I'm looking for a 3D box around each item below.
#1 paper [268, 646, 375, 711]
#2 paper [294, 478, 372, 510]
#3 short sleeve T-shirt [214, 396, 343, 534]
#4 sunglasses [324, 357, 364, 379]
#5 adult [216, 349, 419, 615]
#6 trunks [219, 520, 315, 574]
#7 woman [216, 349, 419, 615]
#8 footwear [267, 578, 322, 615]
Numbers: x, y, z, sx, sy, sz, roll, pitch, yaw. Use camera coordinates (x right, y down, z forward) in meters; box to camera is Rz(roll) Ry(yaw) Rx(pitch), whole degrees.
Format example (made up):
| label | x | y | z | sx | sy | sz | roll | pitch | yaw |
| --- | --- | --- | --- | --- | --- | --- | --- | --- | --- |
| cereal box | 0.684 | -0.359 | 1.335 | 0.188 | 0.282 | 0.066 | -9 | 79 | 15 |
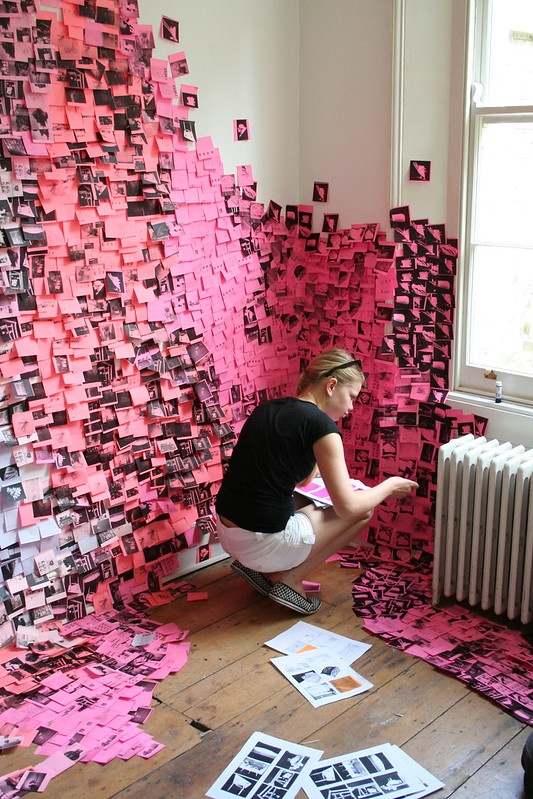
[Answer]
| label | x | y | z | sx | sy | sz | roll | pitch | yaw |
| --- | --- | --- | --- | --- | --- | --- | --- | --- | --- |
| paper | 0.147 | 0.753 | 1.583 | 0.183 | 0.012 | 0.259 | -5 | 6 | -25 |
| paper | 0.193 | 0.325 | 2.039 | 0.140 | 0.033 | 0.137 | -22 | 31 | -40 |
| short sleeve T-shirt | 0.025 | 0.209 | 1.751 | 0.422 | 0.419 | 0.148 | 1 | 7 | 35 |
| sunglasses | 0.232 | -0.097 | 1.739 | 0.080 | 0.024 | 0.080 | -24 | 3 | 9 |
| adult | 0.144 | 0.276 | 1.909 | 0.492 | 0.835 | 0.572 | 11 | 4 | 42 |
| trunks | 0.006 | 0.463 | 1.844 | 0.237 | 0.096 | 0.185 | 27 | 48 | 24 |
| woman | 0.144 | 0.276 | 1.921 | 0.541 | 0.839 | 0.575 | 9 | 1 | 36 |
| footwear | 0.097 | 0.655 | 1.931 | 0.207 | 0.087 | 0.080 | 29 | -5 | -32 |
